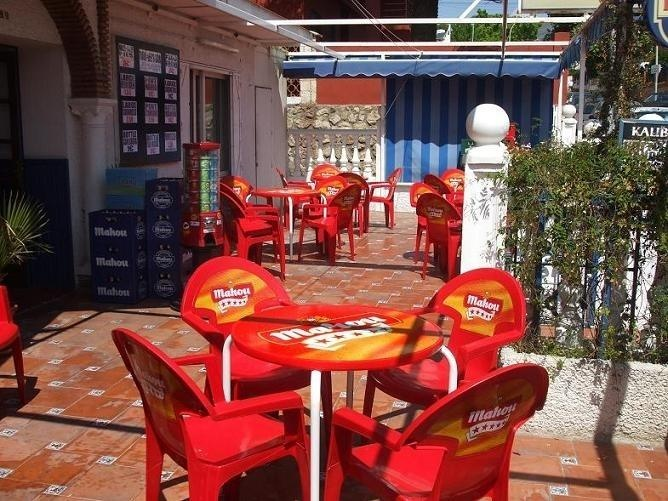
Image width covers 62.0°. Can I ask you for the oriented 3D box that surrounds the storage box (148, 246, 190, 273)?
[{"bbox_3d":[-2.028,0.087,6.834,0.307,0.234,0.325,1,5,2],"label":"storage box"}]

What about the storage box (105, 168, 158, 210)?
[{"bbox_3d":[-2.677,-0.806,7.111,0.533,0.495,0.553,0,8,-14],"label":"storage box"}]

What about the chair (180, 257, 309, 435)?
[{"bbox_3d":[-0.617,0.501,3.519,0.829,1.181,0.836,-5,9,-39],"label":"chair"}]

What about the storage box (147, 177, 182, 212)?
[{"bbox_3d":[-2.015,-0.716,6.775,0.358,0.392,0.380,5,14,14],"label":"storage box"}]

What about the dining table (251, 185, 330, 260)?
[{"bbox_3d":[-0.765,-0.334,9.147,1.167,1.436,1.278,6,13,30],"label":"dining table"}]

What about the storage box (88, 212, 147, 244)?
[{"bbox_3d":[-2.583,-0.311,6.607,0.549,0.420,0.338,1,-1,-3],"label":"storage box"}]

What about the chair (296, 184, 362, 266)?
[{"bbox_3d":[-0.079,-0.481,8.700,0.862,1.314,0.780,14,23,31],"label":"chair"}]

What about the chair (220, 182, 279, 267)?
[{"bbox_3d":[-1.053,-0.378,7.678,0.877,1.137,0.884,12,13,32],"label":"chair"}]

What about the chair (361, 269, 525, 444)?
[{"bbox_3d":[0.642,0.680,3.345,0.863,1.128,0.859,10,8,33],"label":"chair"}]

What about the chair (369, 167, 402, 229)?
[{"bbox_3d":[0.951,-1.083,11.663,0.767,1.205,0.700,-1,8,-5],"label":"chair"}]
